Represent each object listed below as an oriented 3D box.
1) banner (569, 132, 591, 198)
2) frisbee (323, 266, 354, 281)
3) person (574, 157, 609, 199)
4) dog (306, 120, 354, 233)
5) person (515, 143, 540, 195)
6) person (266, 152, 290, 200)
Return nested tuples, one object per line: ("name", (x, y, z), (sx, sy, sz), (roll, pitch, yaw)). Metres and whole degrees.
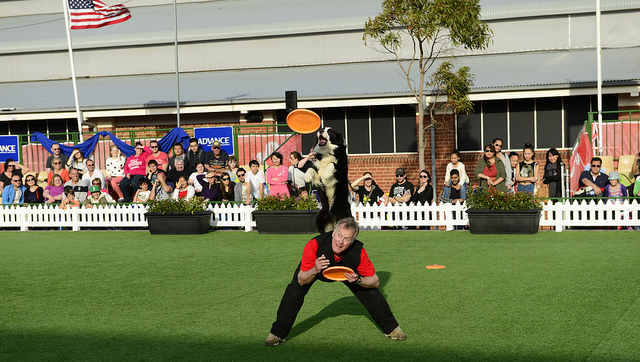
("banner", (11.013, -0.782, 37.897), (0.912, 3.015, 0.654), (0, 2, 27))
("frisbee", (0.499, 2.941, 28.239), (0.577, 0.142, 0.572), (13, -30, -22))
("person", (11.176, 0.000, 36.630), (0.947, 1.968, 0.851), (1, 1, 39))
("dog", (0.215, -0.102, 29.722), (1.412, 3.577, 1.625), (-1, 0, 9))
("person", (8.570, -0.493, 37.067), (0.791, 2.136, 0.888), (0, 1, 18))
("person", (-1.782, -0.185, 37.569), (0.770, 2.121, 0.741), (0, 1, 19))
